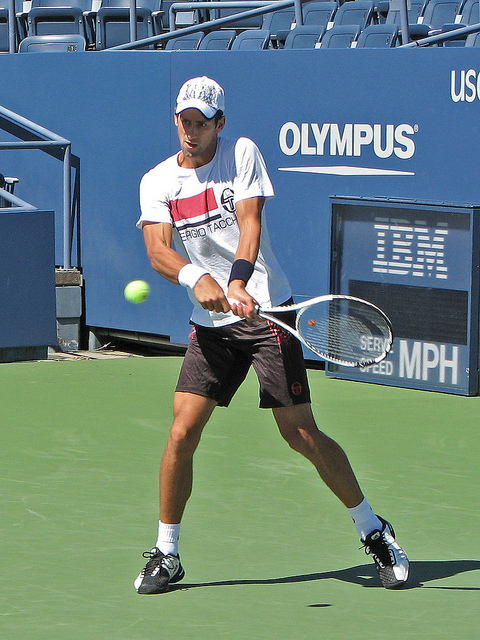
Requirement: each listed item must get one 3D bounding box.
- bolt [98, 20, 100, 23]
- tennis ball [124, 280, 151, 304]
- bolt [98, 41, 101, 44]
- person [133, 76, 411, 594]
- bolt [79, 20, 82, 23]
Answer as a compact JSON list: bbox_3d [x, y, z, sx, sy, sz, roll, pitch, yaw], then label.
[{"bbox_3d":[-1.531,-3.222,10.624,0.015,0.013,0.015,-2,-9,14],"label":"bolt"},{"bbox_3d":[-0.438,-0.141,4.295,0.113,0.107,0.114,-3,-14,-1],"label":"tennis ball"},{"bbox_3d":[-1.534,-3.013,10.699,0.037,0.031,0.021,2,8,18],"label":"bolt"},{"bbox_3d":[0.058,0.058,3.325,0.853,1.743,0.553,-1,7,-7],"label":"person"},{"bbox_3d":[-1.791,-3.345,11.035,0.028,0.026,0.022,-1,7,-8],"label":"bolt"}]
